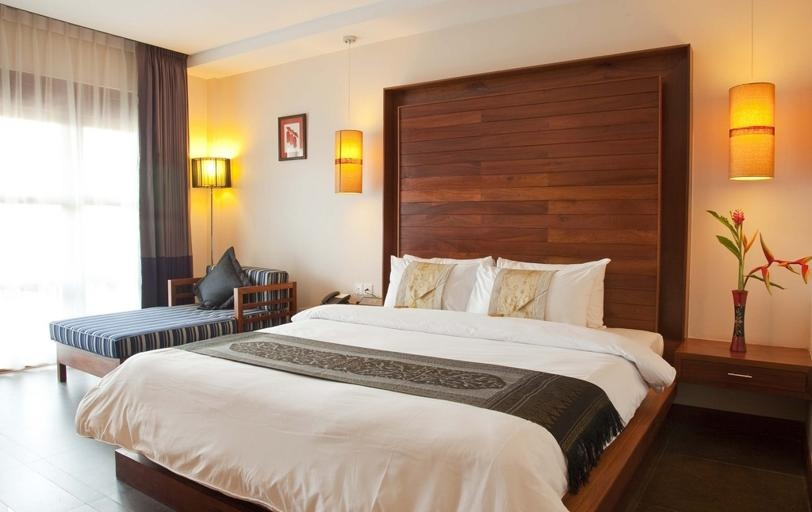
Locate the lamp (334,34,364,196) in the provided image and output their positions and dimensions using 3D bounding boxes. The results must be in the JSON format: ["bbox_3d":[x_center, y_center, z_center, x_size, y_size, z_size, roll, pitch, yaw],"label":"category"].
[{"bbox_3d":[-0.625,-1.534,5.611,0.335,1.649,0.462,-3,6,-3],"label":"lamp"}]

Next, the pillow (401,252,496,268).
[{"bbox_3d":[0.456,0.084,4.916,0.792,0.199,0.107,1,-21,34],"label":"pillow"}]

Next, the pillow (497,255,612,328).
[{"bbox_3d":[1.284,0.320,4.300,0.665,0.393,0.171,1,-11,37],"label":"pillow"}]

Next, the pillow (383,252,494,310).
[{"bbox_3d":[0.296,0.306,5.013,1.066,0.618,0.309,1,-20,45],"label":"pillow"}]

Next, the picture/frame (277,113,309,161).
[{"bbox_3d":[-1.325,-1.445,6.112,0.663,0.686,0.051,1,1,31],"label":"picture/frame"}]

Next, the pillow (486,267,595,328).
[{"bbox_3d":[1.095,0.302,4.442,0.836,0.530,0.302,2,15,33],"label":"pillow"}]

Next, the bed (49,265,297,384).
[{"bbox_3d":[-2.445,0.750,5.571,1.463,0.899,1.965,4,8,37],"label":"bed"}]

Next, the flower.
[{"bbox_3d":[2.859,-0.080,4.230,0.786,0.624,0.714,3,7,28],"label":"flower"}]
